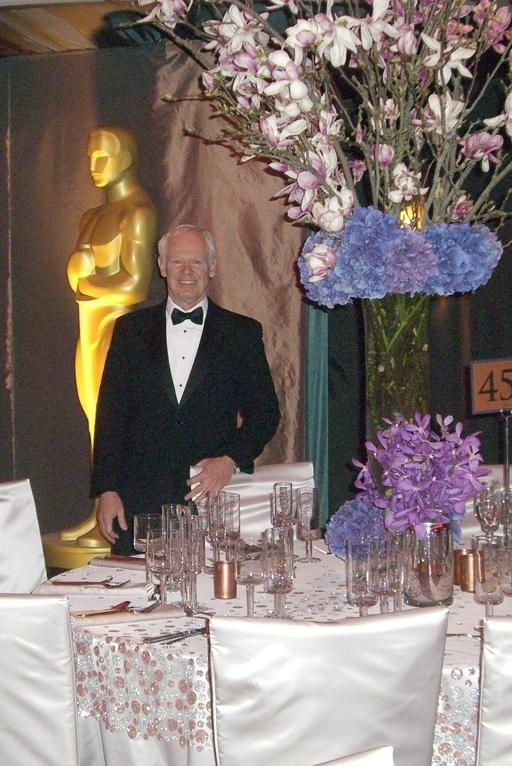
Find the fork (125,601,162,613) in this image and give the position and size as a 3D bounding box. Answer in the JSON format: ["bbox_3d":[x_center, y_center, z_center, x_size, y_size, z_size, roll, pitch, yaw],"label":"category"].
[{"bbox_3d":[-0.241,0.486,1.780,0.088,0.030,0.025,-5,-4,15],"label":"fork"}]

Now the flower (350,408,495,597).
[{"bbox_3d":[0.292,0.293,1.996,0.416,0.460,0.376,0,-9,-2],"label":"flower"}]

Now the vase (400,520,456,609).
[{"bbox_3d":[0.368,0.393,1.799,0.130,0.163,0.109,-1,0,7],"label":"vase"}]
